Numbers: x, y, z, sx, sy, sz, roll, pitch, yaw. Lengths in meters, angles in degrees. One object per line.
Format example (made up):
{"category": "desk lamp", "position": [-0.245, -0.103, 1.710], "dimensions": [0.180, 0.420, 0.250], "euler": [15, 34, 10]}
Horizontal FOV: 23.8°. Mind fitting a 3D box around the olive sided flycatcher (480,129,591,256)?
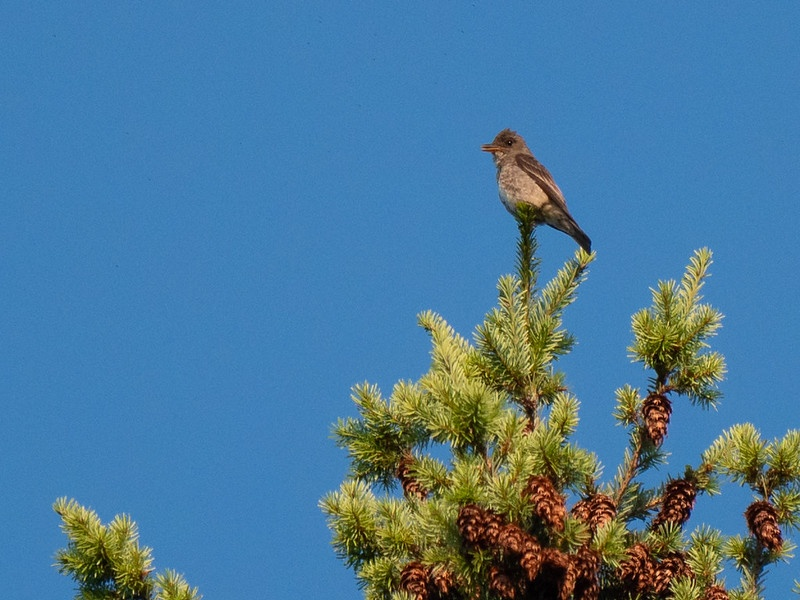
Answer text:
{"category": "olive sided flycatcher", "position": [1.048, -0.838, 14.665], "dimensions": [0.810, 0.894, 0.457], "euler": [13, -37, -5]}
